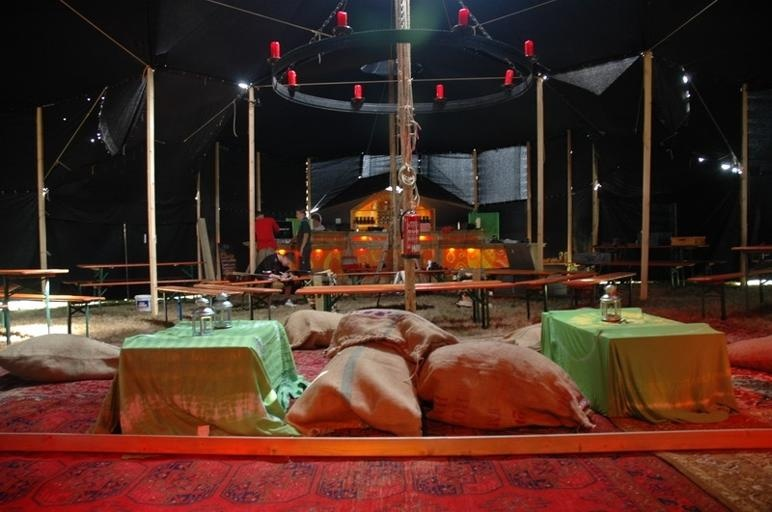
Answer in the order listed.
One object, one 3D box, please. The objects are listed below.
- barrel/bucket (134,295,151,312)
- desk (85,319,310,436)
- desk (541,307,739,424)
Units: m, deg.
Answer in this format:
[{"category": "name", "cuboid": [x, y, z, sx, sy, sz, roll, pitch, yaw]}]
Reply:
[{"category": "barrel/bucket", "cuboid": [-4.973, 0.965, 12.795, 0.352, 0.311, 0.360, 0, 0, 0]}, {"category": "desk", "cuboid": [-2.374, 1.562, 7.852, 1.833, 0.710, 1.509, 2, 0, 6]}, {"category": "desk", "cuboid": [3.152, 1.422, 8.433, 1.278, 0.768, 1.859, -1, 1, -16]}]
